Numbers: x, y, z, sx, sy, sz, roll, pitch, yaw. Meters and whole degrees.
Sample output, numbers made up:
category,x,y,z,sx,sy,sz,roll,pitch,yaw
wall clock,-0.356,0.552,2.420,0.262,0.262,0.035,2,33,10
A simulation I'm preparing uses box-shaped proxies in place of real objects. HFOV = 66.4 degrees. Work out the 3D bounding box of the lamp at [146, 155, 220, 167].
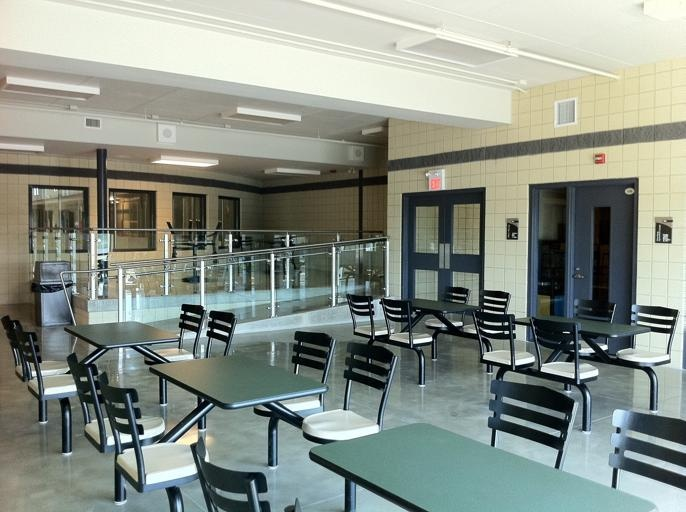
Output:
category,x,y,z,sx,sy,sz,roll,pitch,yaw
lamp,-3.527,-2.143,11.775,1.315,0.152,0.568,-4,5,-36

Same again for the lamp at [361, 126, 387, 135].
category,x,y,z,sx,sy,sz,roll,pitch,yaw
lamp,0.662,-2.702,11.225,0.464,0.148,0.925,-2,4,-1
